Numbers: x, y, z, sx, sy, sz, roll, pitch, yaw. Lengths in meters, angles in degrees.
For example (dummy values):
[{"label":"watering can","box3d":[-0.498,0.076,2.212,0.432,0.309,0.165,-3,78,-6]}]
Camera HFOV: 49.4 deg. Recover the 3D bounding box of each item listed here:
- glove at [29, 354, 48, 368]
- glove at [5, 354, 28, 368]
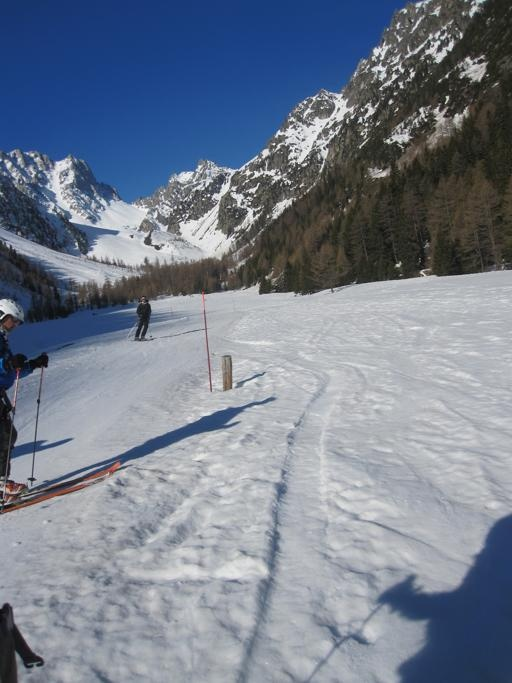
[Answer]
[{"label":"glove","box3d":[-2.786,0.264,7.049,0.327,0.233,0.142,-1,-1,38]},{"label":"glove","box3d":[-2.929,0.250,6.738,0.210,0.276,0.184,-3,3,-23]}]
